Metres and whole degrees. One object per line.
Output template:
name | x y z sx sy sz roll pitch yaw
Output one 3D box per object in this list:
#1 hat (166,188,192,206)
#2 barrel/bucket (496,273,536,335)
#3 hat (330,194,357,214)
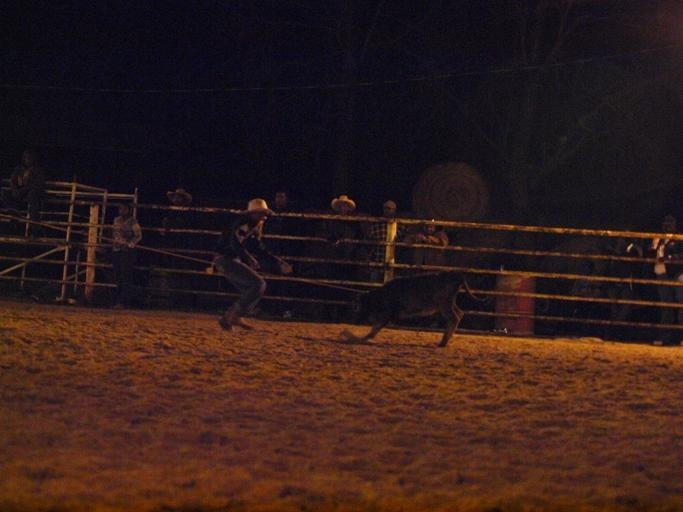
hat | -3.619 -1.305 18.672 0.638 0.407 0.881 0 -1 -4
barrel/bucket | 3.216 0.910 15.413 0.738 1.081 1.554 4 15 11
hat | -0.004 -1.132 17.194 0.552 0.190 0.587 7 -12 -19
